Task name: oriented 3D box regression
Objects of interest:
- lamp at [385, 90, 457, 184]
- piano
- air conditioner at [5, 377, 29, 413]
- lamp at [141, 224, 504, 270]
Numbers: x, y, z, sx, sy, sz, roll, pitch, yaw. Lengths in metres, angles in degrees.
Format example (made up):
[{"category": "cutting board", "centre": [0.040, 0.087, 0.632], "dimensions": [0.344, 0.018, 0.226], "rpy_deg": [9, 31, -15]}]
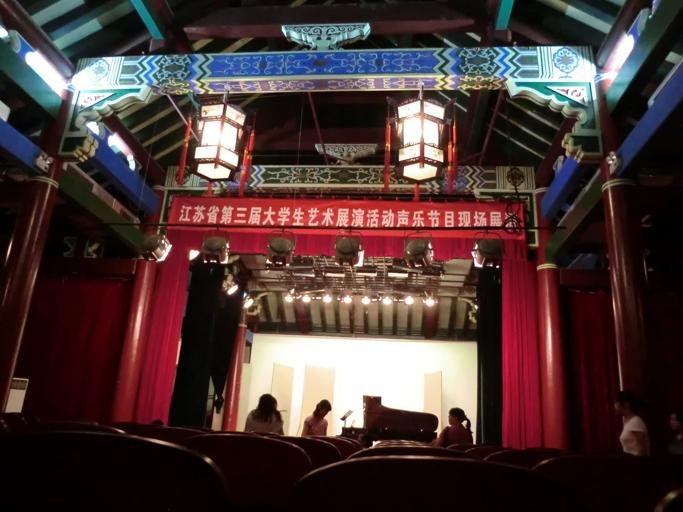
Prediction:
[{"category": "lamp", "centre": [0.737, -1.117, 4.951], "dimensions": [0.570, 1.010, 0.560], "rpy_deg": [2, -10, 18]}, {"category": "piano", "centre": [1.005, 2.841, 9.176], "dimensions": [1.201, 0.761, 0.848], "rpy_deg": [1, -30, 2]}, {"category": "air conditioner", "centre": [-3.857, 1.635, 6.332], "dimensions": [0.180, 0.386, 0.441], "rpy_deg": [17, -24, -28]}, {"category": "lamp", "centre": [-0.307, -0.149, 7.027], "dimensions": [4.305, 0.601, 0.323], "rpy_deg": [0, -1, 5]}]
